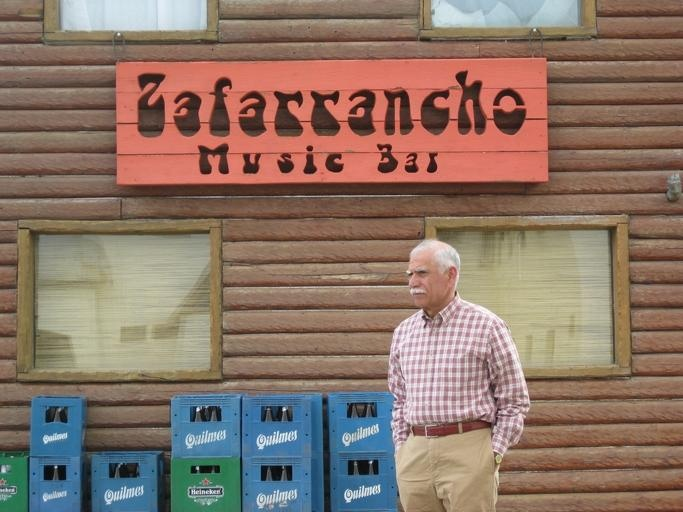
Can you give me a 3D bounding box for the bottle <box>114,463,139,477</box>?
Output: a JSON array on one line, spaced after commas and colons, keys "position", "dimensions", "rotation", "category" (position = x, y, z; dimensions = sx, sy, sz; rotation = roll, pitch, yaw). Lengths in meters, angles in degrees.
[{"position": [-2.144, 2.116, 19.997], "dimensions": [0.178, 0.087, 0.164], "rotation": [1, -5, 0], "category": "bottle"}]
